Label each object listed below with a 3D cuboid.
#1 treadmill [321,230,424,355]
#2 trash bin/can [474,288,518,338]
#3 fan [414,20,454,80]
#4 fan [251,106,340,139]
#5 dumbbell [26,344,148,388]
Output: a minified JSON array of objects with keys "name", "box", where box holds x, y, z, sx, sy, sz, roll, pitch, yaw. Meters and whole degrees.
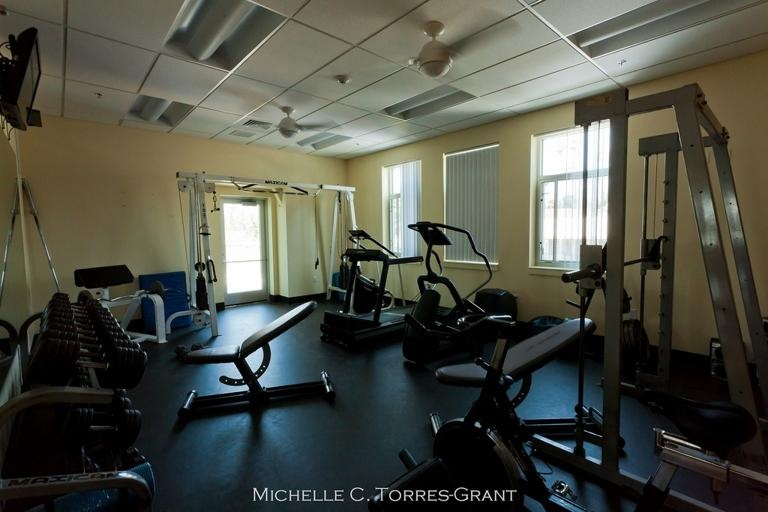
[{"name":"treadmill","box":[-0.211,0.376,7.663,1.197,1.530,1.911,0,3,6]},{"name":"trash bin/can","box":[1.558,0.644,7.239,0.371,0.350,0.565,-3,4,-38]},{"name":"fan","box":[0.531,-2.134,5.358,0.348,0.517,0.497,2,-2,-41]},{"name":"fan","box":[-1.248,-1.808,6.997,0.779,0.428,1.124,1,7,8]},{"name":"dumbbell","box":[-2.220,0.740,3.957,0.620,0.209,0.632,14,-12,-22]}]
